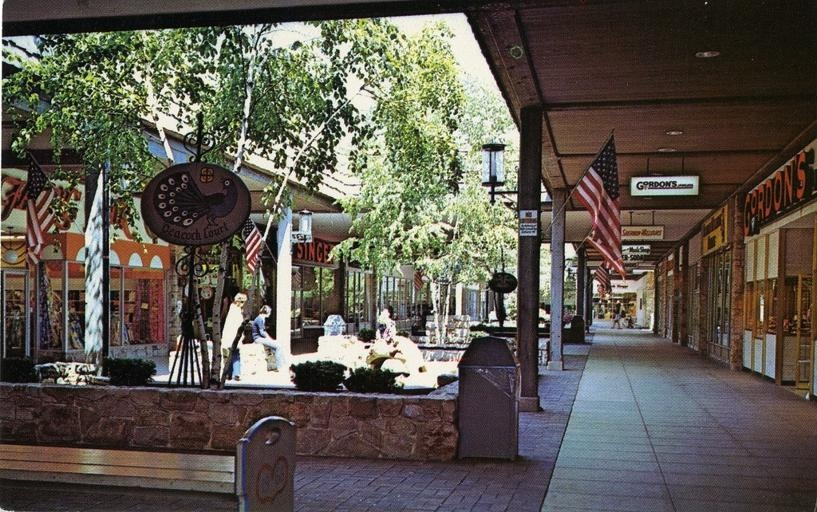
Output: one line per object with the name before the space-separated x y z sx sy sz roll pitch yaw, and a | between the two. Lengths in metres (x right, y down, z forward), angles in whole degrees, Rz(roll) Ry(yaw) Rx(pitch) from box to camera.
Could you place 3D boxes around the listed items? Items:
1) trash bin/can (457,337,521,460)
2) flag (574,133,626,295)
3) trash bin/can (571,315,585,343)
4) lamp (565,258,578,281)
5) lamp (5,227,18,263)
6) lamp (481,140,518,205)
trash bin/can | 1.121 2.004 9.280 0.834 1.716 0.332 1 -7 0
flag | 4.082 -1.158 13.800 0.792 2.948 2.189 -1 -8 18
trash bin/can | 8.633 3.738 33.447 0.638 1.328 0.901 0 -7 8
lamp | 11.297 0.884 45.150 1.115 1.603 0.560 -5 -11 44
lamp | -11.371 -0.275 18.571 0.444 0.977 0.377 -4 -9 35
lamp | 2.131 -2.038 16.022 0.613 1.486 1.261 1 -8 6
